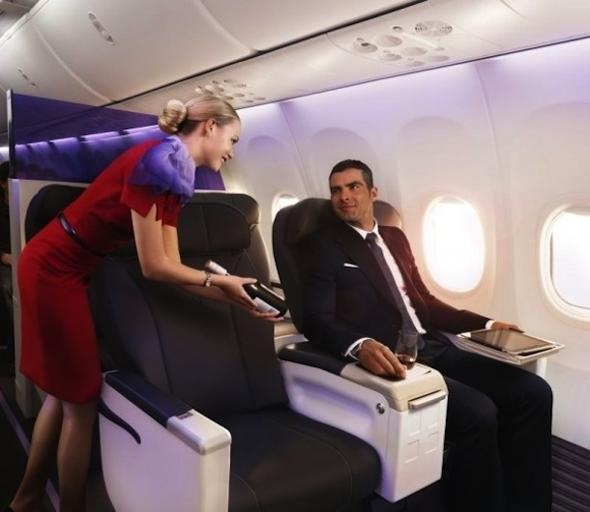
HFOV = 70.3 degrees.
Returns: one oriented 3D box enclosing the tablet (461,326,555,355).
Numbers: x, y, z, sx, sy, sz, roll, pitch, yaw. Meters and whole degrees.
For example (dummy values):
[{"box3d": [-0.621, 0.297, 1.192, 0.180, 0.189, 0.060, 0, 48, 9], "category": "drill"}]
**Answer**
[{"box3d": [1.021, 0.377, 2.013, 0.310, 0.078, 0.248, -2, 4, -34], "category": "tablet"}]
